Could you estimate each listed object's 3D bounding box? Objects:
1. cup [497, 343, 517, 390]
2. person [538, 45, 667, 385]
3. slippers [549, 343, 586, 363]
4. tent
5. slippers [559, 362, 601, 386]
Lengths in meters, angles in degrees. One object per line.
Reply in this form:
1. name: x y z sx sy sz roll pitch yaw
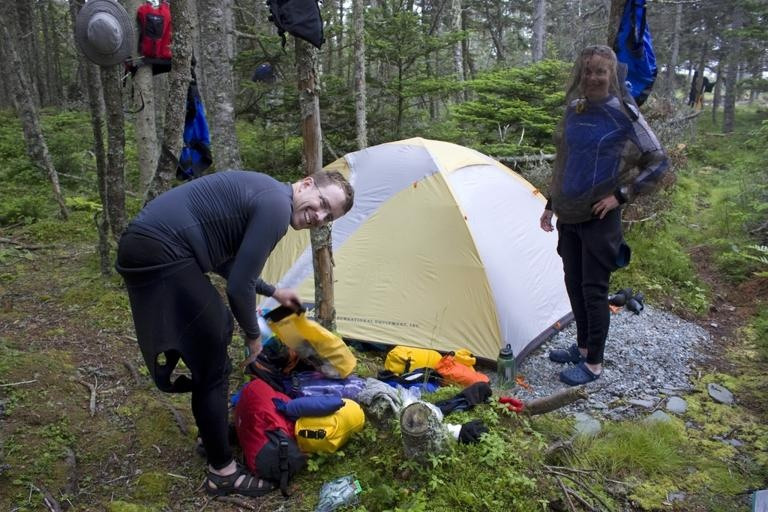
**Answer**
1. cup: 1.437 1.266 6.950 0.220 0.528 0.215 1 17 0
2. person: 2.445 -0.411 6.773 1.167 3.770 0.776 9 19 25
3. slippers: 2.258 1.205 7.364 0.437 0.180 0.166 7 12 7
4. tent: 0.693 -0.050 7.843 3.486 1.529 3.294 1 11 16
5. slippers: 2.301 1.382 7.033 0.464 0.191 0.238 1 21 2
